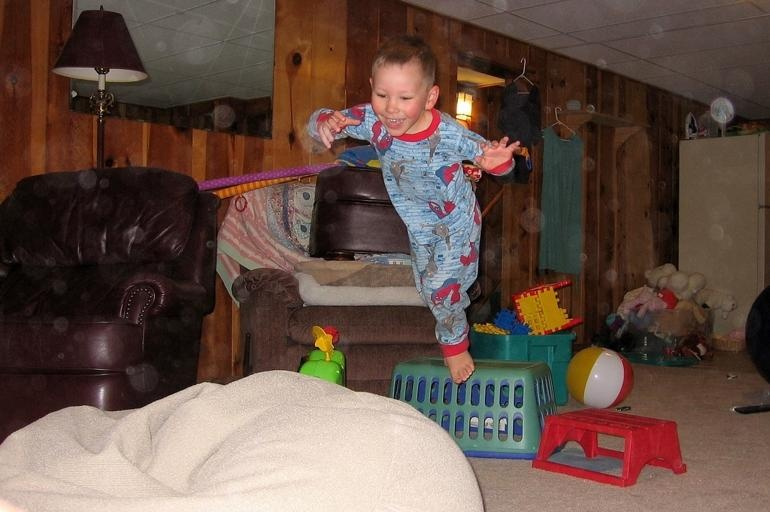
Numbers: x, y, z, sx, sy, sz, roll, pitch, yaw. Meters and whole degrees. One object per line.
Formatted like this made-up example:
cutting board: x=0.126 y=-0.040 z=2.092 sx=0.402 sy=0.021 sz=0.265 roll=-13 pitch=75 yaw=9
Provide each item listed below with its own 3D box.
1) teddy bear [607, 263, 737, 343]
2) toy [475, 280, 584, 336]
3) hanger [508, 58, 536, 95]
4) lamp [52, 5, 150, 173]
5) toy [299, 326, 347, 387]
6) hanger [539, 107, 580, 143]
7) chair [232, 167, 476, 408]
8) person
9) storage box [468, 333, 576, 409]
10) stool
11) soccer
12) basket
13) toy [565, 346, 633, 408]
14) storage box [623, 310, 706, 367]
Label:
teddy bear: x=2.496 y=0.424 z=5.675 sx=0.944 sy=0.396 sz=0.686 roll=-7 pitch=31 yaw=10
toy: x=0.937 y=0.354 z=4.190 sx=0.528 sy=0.342 sz=0.144 roll=-11 pitch=-9 yaw=-2
hanger: x=1.219 y=-1.606 z=5.971 sx=0.012 sy=0.334 sz=0.458 roll=9 pitch=13 yaw=42
lamp: x=-1.644 y=-0.955 z=3.841 sx=0.502 sy=0.876 sz=0.364 roll=3 pitch=2 yaw=-22
toy: x=-0.274 y=0.426 z=2.957 sx=0.193 sy=0.226 sz=0.402 roll=3 pitch=2 yaw=-6
hanger: x=1.703 y=-1.266 z=6.288 sx=0.578 sy=0.253 sz=0.221 roll=2 pitch=3 yaw=-34
chair: x=-0.462 y=0.226 z=4.410 sx=1.195 sy=1.036 sz=1.178 roll=0 pitch=-23 yaw=5
person: x=0.230 y=-0.170 z=3.182 sx=1.019 sy=1.660 sz=0.680 roll=6 pitch=29 yaw=30
storage box: x=0.810 y=0.653 z=3.943 sx=0.553 sy=0.368 sz=0.417 roll=-4 pitch=-7 yaw=26
stool: x=1.039 y=0.812 z=2.945 sx=0.392 sy=0.192 sz=0.384 roll=-5 pitch=-10 yaw=44
soccer: x=1.192 y=0.652 z=3.784 sx=0.327 sy=0.340 sz=0.338 roll=6 pitch=3 yaw=41
basket: x=0.470 y=0.700 z=3.139 sx=0.621 sy=0.317 sz=0.469 roll=0 pitch=-2 yaw=18
toy: x=1.232 y=0.724 z=3.805 sx=0.325 sy=0.339 sz=0.340 roll=-7 pitch=-33 yaw=24
storage box: x=2.290 y=0.593 z=5.413 sx=0.474 sy=0.337 sz=0.487 roll=1 pitch=1 yaw=40
